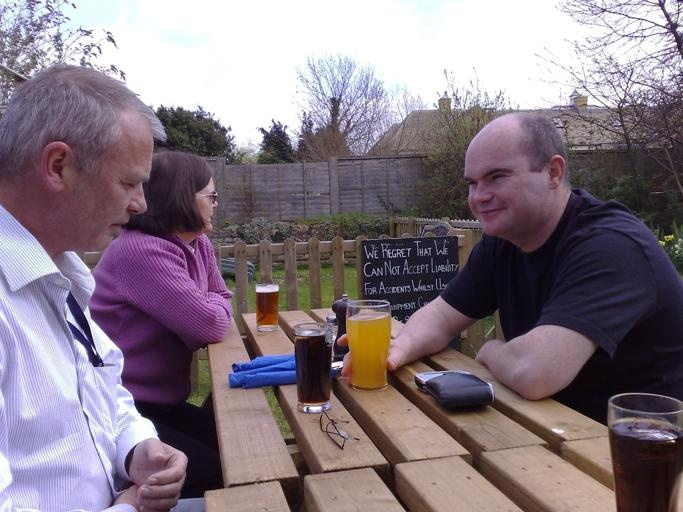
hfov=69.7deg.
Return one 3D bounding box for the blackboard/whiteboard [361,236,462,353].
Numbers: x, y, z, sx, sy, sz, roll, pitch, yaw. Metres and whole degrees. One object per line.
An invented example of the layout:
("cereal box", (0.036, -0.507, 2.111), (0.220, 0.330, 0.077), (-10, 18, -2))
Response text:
("blackboard/whiteboard", (0.754, 0.443, 5.720), (1.000, 1.313, 0.791), (-1, 10, -22))
